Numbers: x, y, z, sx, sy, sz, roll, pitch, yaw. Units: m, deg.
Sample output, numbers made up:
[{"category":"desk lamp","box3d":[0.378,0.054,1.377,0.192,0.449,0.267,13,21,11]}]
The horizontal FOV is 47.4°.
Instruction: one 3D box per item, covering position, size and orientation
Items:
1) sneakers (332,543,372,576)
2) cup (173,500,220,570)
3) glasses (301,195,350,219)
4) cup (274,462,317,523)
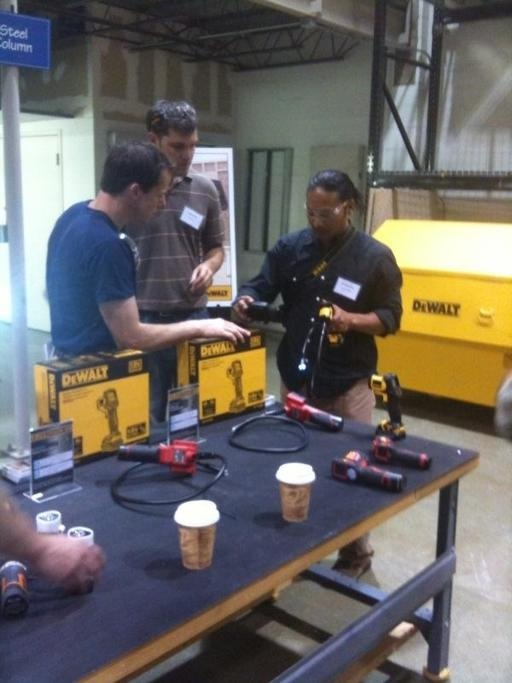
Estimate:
[{"category":"sneakers","box3d":[0.382,0.834,2.270,0.075,0.100,0.217,-2,-5,40]},{"category":"cup","box3d":[-0.093,0.315,0.939,0.073,0.077,0.072,1,-12,0]},{"category":"glasses","box3d":[0.254,-0.473,2.086,0.150,0.071,0.089,3,8,8]},{"category":"cup","box3d":[0.077,0.302,1.130,0.072,0.084,0.072,2,-13,1]}]
